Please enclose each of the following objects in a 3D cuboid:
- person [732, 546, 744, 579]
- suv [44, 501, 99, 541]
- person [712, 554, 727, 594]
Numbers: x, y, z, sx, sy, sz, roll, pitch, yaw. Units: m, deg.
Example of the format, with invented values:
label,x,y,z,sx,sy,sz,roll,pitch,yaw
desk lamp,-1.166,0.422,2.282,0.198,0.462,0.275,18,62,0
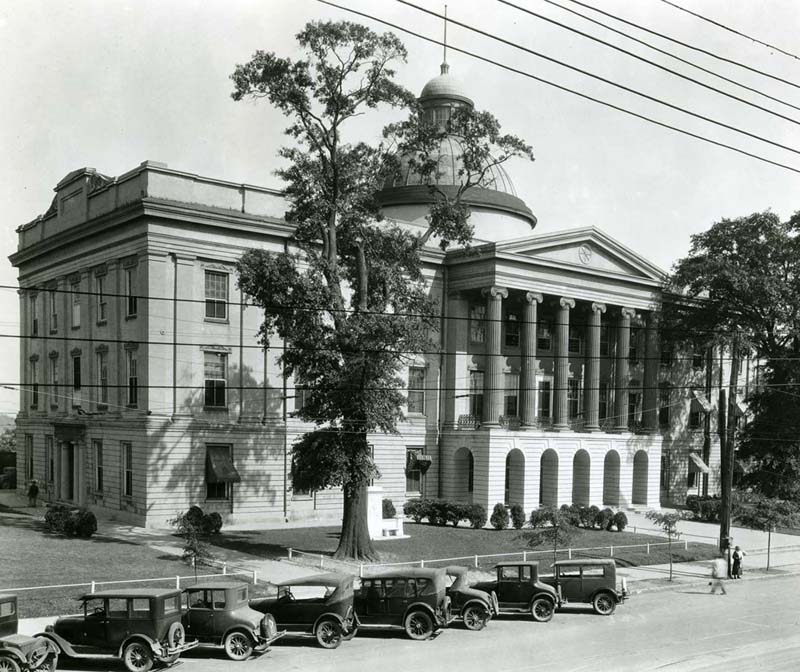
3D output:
label,x,y,z,sx,sy,sz,roll,pitch,yaw
person,16.189,10.836,78.666,0.500,1.559,1.261,-2,-11,12
suv,-16.557,9.251,81.745,1.704,1.948,3.961,7,-13,-33
person,14.671,11.103,75.528,0.662,1.653,2.612,-2,-11,11
